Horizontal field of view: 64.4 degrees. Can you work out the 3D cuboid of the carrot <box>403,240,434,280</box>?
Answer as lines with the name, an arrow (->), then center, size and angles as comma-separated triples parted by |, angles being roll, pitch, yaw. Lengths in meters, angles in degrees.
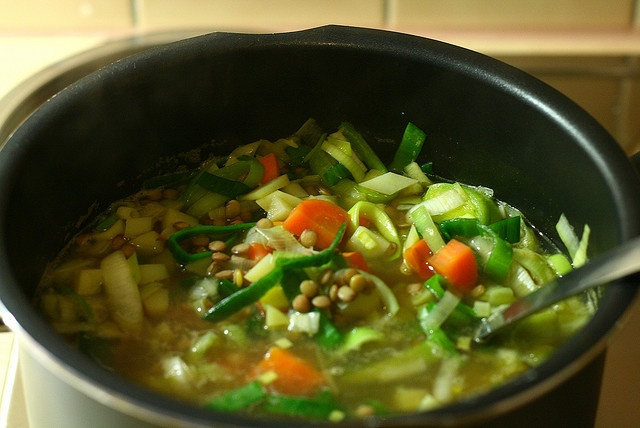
carrot -> 0.173, 0.087, 0.950 | 0.063, 0.018, 0.066 | 44, 46, 2

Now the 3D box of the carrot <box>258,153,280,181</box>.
carrot -> -0.105, -0.098, 1.104 | 0.059, 0.023, 0.055 | 4, 87, -3
